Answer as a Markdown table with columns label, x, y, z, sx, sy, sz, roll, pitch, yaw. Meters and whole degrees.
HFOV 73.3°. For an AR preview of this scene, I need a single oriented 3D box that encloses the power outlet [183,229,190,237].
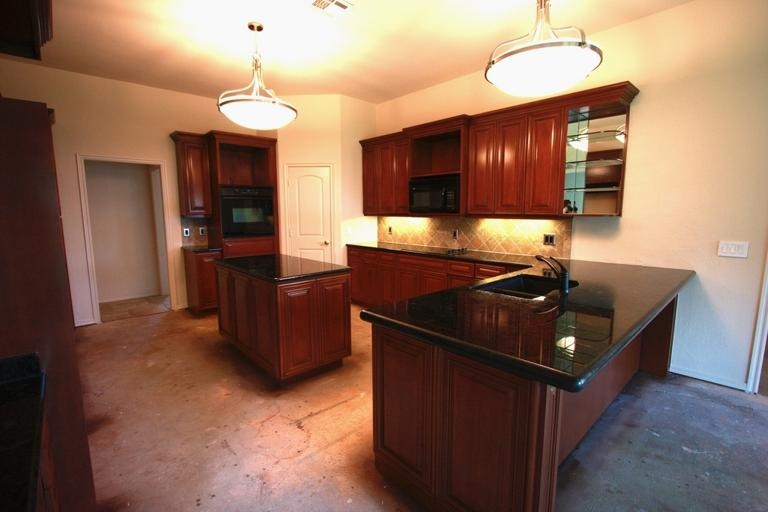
| label | x | y | z | sx | sy | sz | roll | pitch | yaw |
| --- | --- | --- | --- | --- | --- | --- | --- | --- | --- |
| power outlet | -2.774 | -0.325 | 7.239 | 0.023 | 0.097 | 0.097 | 2 | -5 | 36 |

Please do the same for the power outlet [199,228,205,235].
| label | x | y | z | sx | sy | sz | roll | pitch | yaw |
| --- | --- | --- | --- | --- | --- | --- | --- | --- | --- |
| power outlet | -2.607 | -0.355 | 7.394 | 0.082 | 0.109 | 0.008 | -8 | 12 | -37 |

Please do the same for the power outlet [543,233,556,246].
| label | x | y | z | sx | sy | sz | roll | pitch | yaw |
| --- | --- | --- | --- | --- | --- | --- | --- | --- | --- |
| power outlet | 1.928 | -0.190 | 6.012 | 0.015 | 0.142 | 0.144 | -3 | 5 | -42 |

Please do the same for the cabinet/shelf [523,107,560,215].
| label | x | y | z | sx | sy | sz | roll | pitch | yaw |
| --- | --- | --- | --- | --- | --- | --- | --- | --- | --- |
| cabinet/shelf | 1.775 | -1.021 | 5.709 | 0.430 | 1.084 | 0.107 | 6 | 12 | 38 |

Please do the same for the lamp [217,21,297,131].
| label | x | y | z | sx | sy | sz | roll | pitch | yaw |
| --- | --- | --- | --- | --- | --- | --- | --- | --- | --- |
| lamp | -1.283 | -1.833 | 5.132 | 0.710 | 0.900 | 0.670 | -3 | 28 | -16 |

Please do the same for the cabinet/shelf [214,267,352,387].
| label | x | y | z | sx | sy | sz | roll | pitch | yaw |
| --- | --- | --- | --- | --- | --- | --- | --- | --- | --- |
| cabinet/shelf | -1.155 | 0.371 | 5.486 | 1.046 | 1.210 | 1.891 | -8 | 12 | -40 |

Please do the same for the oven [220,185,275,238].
| label | x | y | z | sx | sy | sz | roll | pitch | yaw |
| --- | --- | --- | --- | --- | --- | --- | --- | --- | --- |
| oven | -1.859 | -0.602 | 7.376 | 0.812 | 0.752 | 0.536 | 0 | 1 | 7 |

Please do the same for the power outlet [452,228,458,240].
| label | x | y | z | sx | sy | sz | roll | pitch | yaw |
| --- | --- | --- | --- | --- | --- | --- | --- | --- | --- |
| power outlet | 0.949 | -0.300 | 6.938 | 0.022 | 0.198 | 0.147 | -2 | 4 | -39 |

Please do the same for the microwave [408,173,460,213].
| label | x | y | z | sx | sy | sz | roll | pitch | yaw |
| --- | --- | --- | --- | --- | --- | --- | --- | --- | --- |
| microwave | 0.633 | -0.799 | 6.614 | 0.475 | 0.464 | 0.738 | -4 | 7 | -40 |

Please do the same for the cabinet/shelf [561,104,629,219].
| label | x | y | z | sx | sy | sz | roll | pitch | yaw |
| --- | --- | --- | --- | --- | --- | --- | --- | --- | --- |
| cabinet/shelf | 2.232 | -1.007 | 5.500 | 0.597 | 1.129 | 0.229 | 2 | 10 | 21 |
